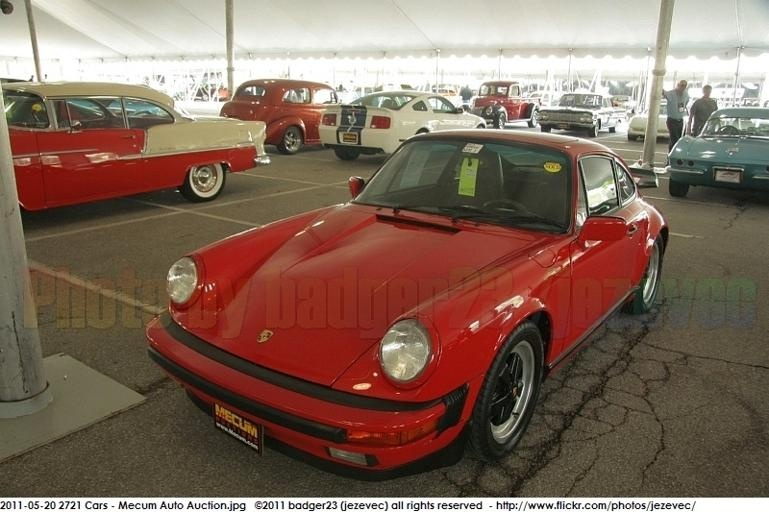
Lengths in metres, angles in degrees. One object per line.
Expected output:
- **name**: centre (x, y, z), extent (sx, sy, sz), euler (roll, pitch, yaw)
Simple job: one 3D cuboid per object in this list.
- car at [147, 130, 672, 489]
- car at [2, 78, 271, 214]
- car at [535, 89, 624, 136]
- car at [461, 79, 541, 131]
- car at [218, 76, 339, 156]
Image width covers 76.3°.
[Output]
- **car**: centre (0.265, 0.161, 3.806), extent (3.797, 2.009, 1.961), euler (-14, 23, -33)
- **car**: centre (-4.115, -1.833, 8.562), extent (4.657, 1.524, 1.991), euler (-10, 16, -42)
- **car**: centre (9.075, -6.339, 21.983), extent (2.138, 1.430, 4.446), euler (9, 16, 32)
- **car**: centre (5.895, -7.328, 23.890), extent (3.607, 1.767, 2.053), euler (-13, 18, -42)
- **car**: centre (-2.946, -4.303, 14.965), extent (1.897, 1.519, 3.363), euler (17, 26, 42)
